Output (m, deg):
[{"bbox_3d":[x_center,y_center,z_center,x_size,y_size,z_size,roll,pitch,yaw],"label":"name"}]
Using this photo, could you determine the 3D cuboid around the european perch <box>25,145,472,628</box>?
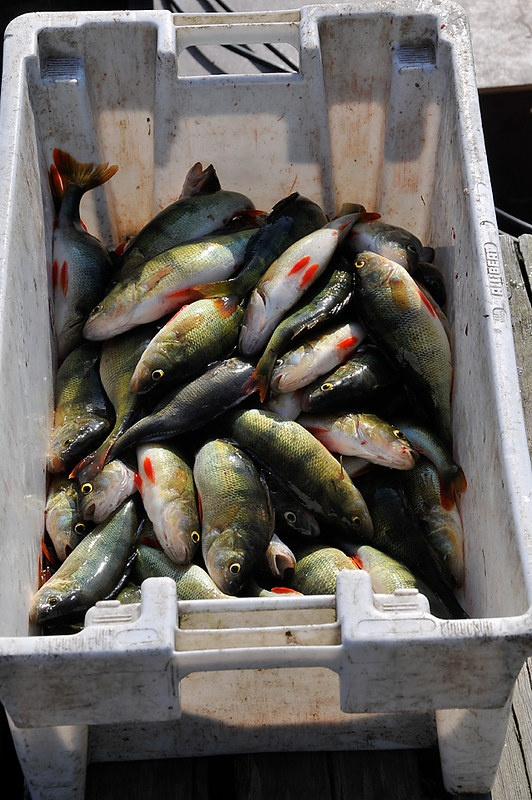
[{"bbox_3d":[-0.037,0.008,2.401,0.869,0.388,1.019,2,63,-5],"label":"european perch"}]
